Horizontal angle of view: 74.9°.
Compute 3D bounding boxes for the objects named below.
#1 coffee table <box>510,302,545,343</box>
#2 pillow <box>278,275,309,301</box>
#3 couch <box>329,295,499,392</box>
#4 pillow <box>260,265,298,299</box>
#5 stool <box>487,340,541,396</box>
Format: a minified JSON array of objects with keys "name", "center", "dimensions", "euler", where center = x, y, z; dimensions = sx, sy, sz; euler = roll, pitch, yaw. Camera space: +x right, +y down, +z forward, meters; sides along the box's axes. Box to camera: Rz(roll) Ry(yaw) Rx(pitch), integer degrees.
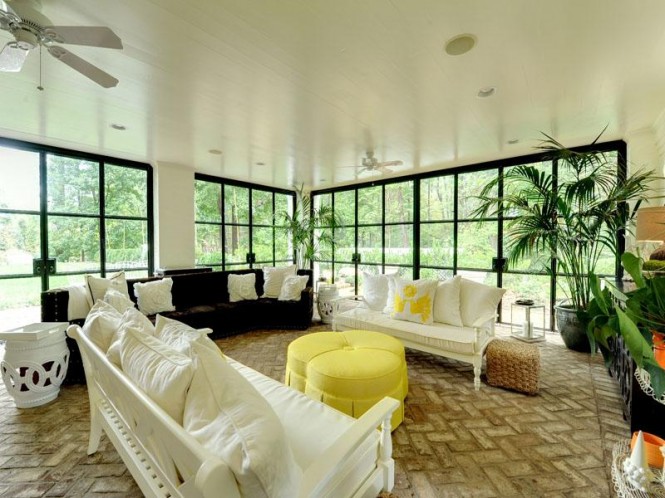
[{"name":"coffee table","center":[2.805,0.933,6.347],"dimensions":[0.401,0.607,0.513],"euler":[18,44,23]},{"name":"pillow","center":[-0.597,0.557,6.518],"dimensions":[0.366,0.371,0.115],"euler":[4,-18,28]},{"name":"couch","center":[1.025,0.946,5.245],"dimensions":[1.952,0.937,0.907],"euler":[4,0,42]},{"name":"pillow","center":[-0.835,0.509,6.713],"dimensions":[0.466,0.472,0.184],"euler":[-1,-21,-1]},{"name":"stool","center":[1.916,1.211,4.642],"dimensions":[0.625,0.413,0.610],"euler":[4,2,-19]}]
